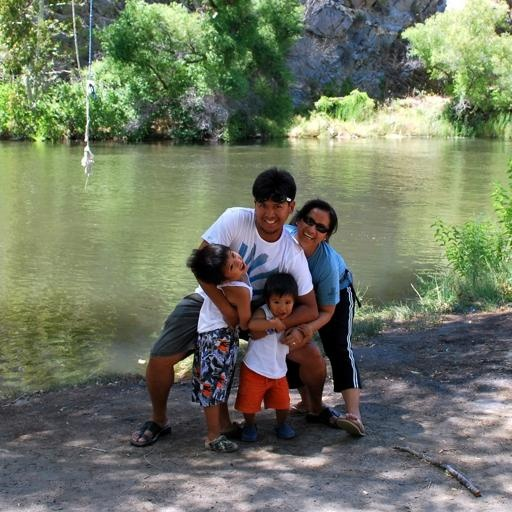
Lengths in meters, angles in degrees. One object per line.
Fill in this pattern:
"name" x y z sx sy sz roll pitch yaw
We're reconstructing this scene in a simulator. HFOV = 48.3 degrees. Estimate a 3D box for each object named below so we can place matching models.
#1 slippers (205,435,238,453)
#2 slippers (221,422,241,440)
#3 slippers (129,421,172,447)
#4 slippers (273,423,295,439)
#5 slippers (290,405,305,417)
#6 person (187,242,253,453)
"slippers" -0.183 0.983 3.006 0.153 0.055 0.078 2 8 11
"slippers" -0.127 1.000 3.263 0.050 0.051 0.143 9 7 35
"slippers" -0.590 0.982 3.161 0.081 0.064 0.205 14 6 30
"slippers" 0.165 0.980 3.198 0.063 0.038 0.110 -4 0 -23
"slippers" 0.272 1.013 3.716 0.088 0.030 0.049 1 12 -32
"person" -0.191 0.488 3.123 0.406 1.110 0.401 -7 7 -2
